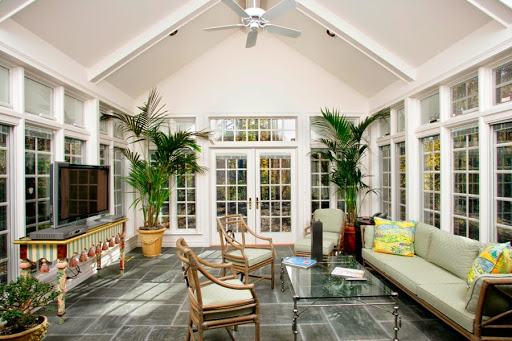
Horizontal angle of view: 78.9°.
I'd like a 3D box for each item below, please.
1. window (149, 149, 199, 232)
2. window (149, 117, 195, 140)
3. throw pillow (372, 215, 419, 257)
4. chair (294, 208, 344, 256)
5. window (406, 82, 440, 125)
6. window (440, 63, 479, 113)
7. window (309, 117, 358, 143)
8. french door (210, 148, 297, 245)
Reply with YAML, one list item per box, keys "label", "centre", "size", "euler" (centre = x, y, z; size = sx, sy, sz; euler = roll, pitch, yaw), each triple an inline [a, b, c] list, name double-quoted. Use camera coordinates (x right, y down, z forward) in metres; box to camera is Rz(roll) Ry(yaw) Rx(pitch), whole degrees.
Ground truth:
- label: "window"
  centre: [-1.744, 0.708, 6.952]
  size: [0.801, 1.243, 0.258]
  euler: [-1, -5, -7]
- label: "window"
  centre: [-1.820, -0.890, 6.638]
  size: [0.571, 0.413, 0.048]
  euler: [1, 5, -3]
- label: "throw pillow"
  centre: [2.254, 1.086, 5.018]
  size: [0.541, 0.526, 0.205]
  euler: [0, -27, 28]
- label: "chair"
  centre: [1.283, 1.271, 6.044]
  size: [0.684, 0.954, 1.126]
  euler: [-1, 5, 35]
- label: "window"
  centre: [2.947, -1.170, 5.424]
  size: [0.256, 0.751, 0.793]
  euler: [2, -5, -13]
- label: "window"
  centre: [3.189, -1.164, 4.802]
  size: [0.104, 0.595, 0.530]
  euler: [0, -5, -17]
- label: "window"
  centre: [1.777, -0.893, 6.998]
  size: [1.128, 0.058, 0.806]
  euler: [2, -48, 4]
- label: "french door"
  centre: [-0.046, 0.568, 6.956]
  size: [1.883, 2.151, 0.251]
  euler: [-1, -9, -2]
